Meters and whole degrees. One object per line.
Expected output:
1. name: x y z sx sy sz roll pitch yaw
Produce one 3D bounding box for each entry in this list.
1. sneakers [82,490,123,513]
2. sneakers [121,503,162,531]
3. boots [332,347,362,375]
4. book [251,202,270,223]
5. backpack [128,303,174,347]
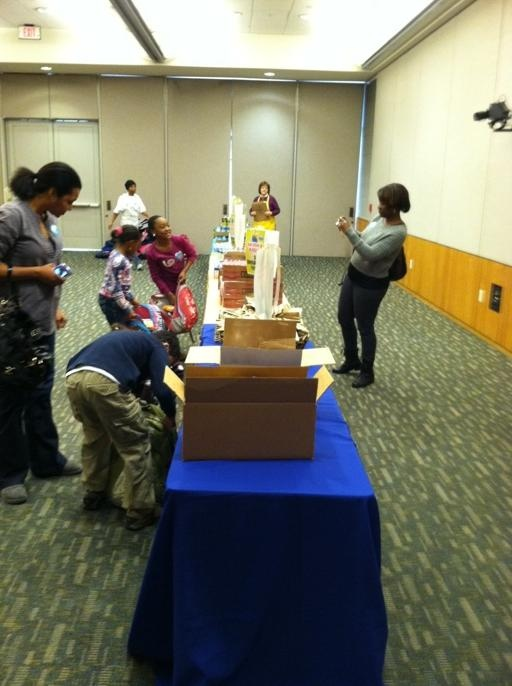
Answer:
1. sneakers: -0.716 0.729 2.267 0.225 0.101 0.085 0 20 -13
2. sneakers: -0.482 0.746 2.081 0.063 0.135 0.188 1 -11 19
3. boots: 0.754 0.166 4.292 0.341 0.258 0.134 -1 19 6
4. book: 0.073 -2.063 7.608 0.275 0.141 0.352 -1 -25 2
5. backpack: -0.685 -0.119 3.158 0.123 0.156 0.390 -30 23 5
